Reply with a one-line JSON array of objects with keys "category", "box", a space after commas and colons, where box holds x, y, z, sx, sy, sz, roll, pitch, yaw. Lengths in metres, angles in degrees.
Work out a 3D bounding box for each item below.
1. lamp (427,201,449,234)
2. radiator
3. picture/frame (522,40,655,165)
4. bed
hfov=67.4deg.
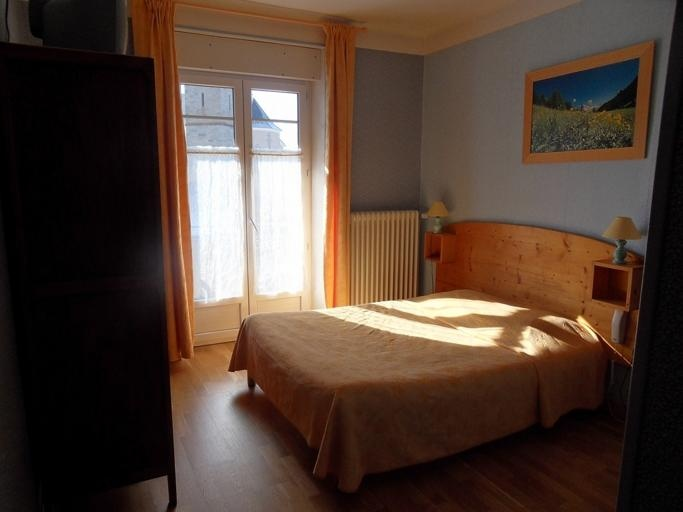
[{"category": "lamp", "box": [0.972, -0.385, 5.096, 0.170, 0.308, 0.203, -8, 25, -13]}, {"category": "radiator", "box": [0.423, 0.008, 5.222, 0.790, 1.187, 0.150, -4, 13, -22]}, {"category": "picture/frame", "box": [1.840, -1.129, 3.741, 0.035, 0.794, 1.002, -4, 12, -31]}, {"category": "bed", "box": [0.772, 0.627, 3.483, 1.908, 1.015, 1.945, -7, 15, -27]}]
